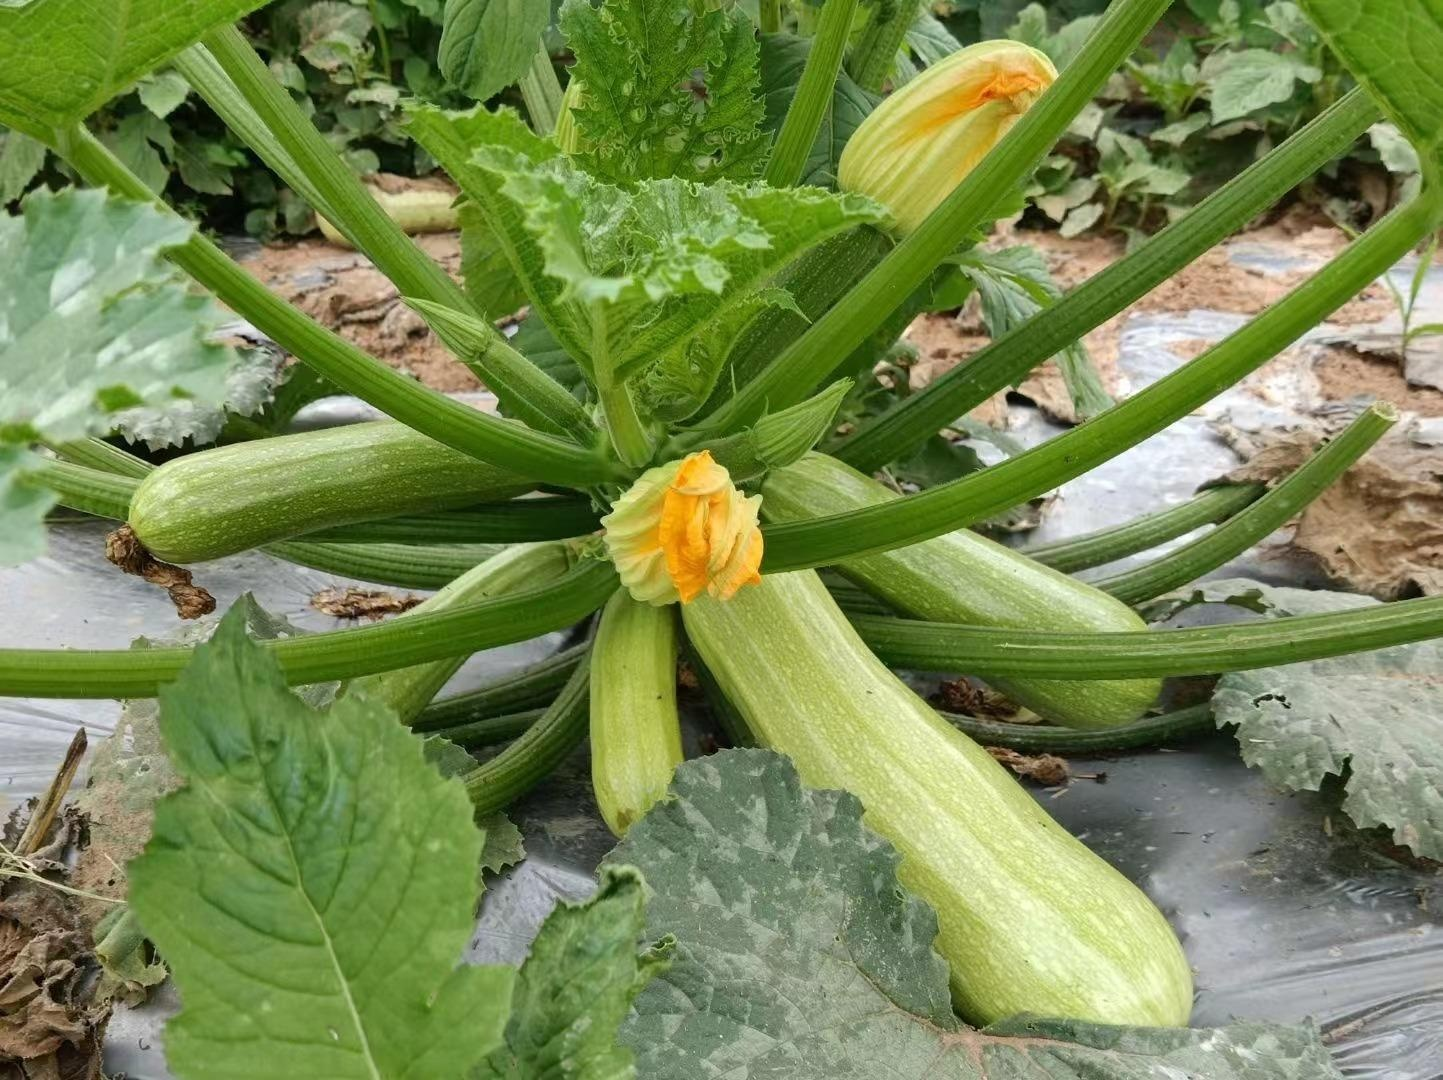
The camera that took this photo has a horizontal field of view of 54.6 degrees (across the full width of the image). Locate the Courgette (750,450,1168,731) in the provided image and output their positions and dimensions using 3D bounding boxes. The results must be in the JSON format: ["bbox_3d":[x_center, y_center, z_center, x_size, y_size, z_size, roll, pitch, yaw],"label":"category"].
[{"bbox_3d":[0.305,0.077,1.863,0.638,0.163,0.183,25,40,11],"label":"Courgette"}]

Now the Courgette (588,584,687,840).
[{"bbox_3d":[-0.123,0.205,1.728,0.095,0.090,0.261,-28,73,35],"label":"Courgette"}]
